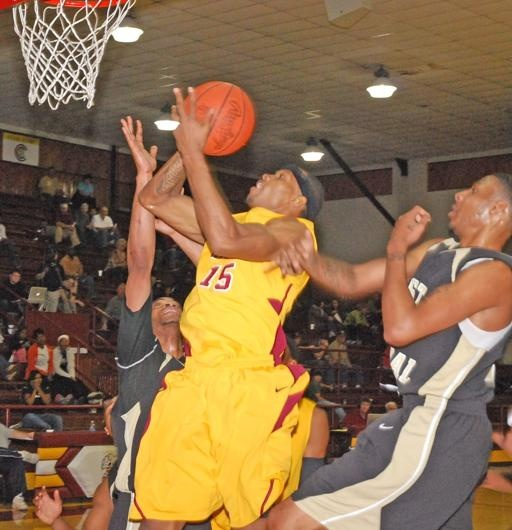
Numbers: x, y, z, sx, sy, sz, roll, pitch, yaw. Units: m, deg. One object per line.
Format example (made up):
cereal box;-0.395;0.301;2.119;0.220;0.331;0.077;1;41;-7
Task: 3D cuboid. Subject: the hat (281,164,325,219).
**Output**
hat;0.193;-0.317;3.019;0.100;0.227;0.184;-38;-14;-8

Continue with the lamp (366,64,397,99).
lamp;1.849;-2.718;10.752;0.400;0.288;0.337;-2;-13;3

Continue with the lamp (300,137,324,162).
lamp;1.130;-2.254;14.333;0.529;0.345;0.436;-1;-13;2

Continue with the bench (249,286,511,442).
bench;2.096;1.894;12.202;3.805;0.858;2.062;2;5;0
